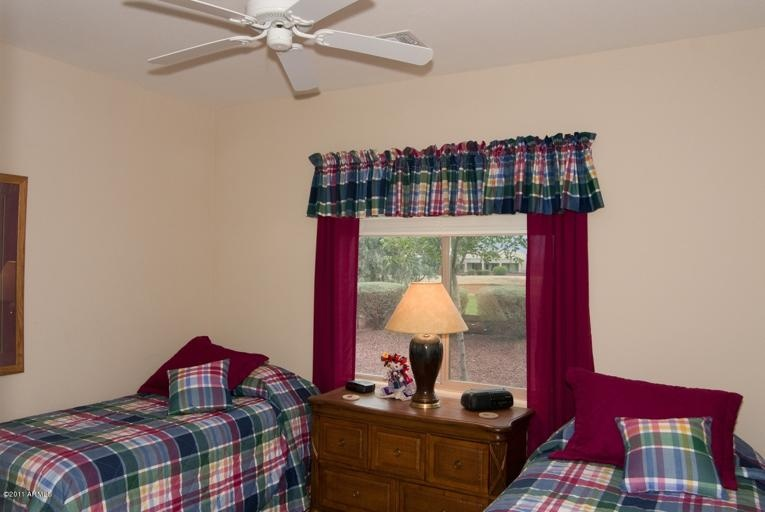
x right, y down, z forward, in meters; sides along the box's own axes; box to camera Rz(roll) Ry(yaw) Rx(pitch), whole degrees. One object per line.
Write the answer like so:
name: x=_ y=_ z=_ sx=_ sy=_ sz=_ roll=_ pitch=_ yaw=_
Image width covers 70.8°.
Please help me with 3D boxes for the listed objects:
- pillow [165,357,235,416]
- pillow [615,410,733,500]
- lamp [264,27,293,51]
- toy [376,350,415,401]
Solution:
pillow: x=-1.371 y=0.973 z=4.052 sx=0.542 sy=0.528 sz=0.139 roll=8 pitch=-45 yaw=-5
pillow: x=1.622 y=1.115 z=3.033 sx=0.459 sy=0.403 sz=0.133 roll=-3 pitch=-39 yaw=19
lamp: x=-0.550 y=-1.173 z=2.913 sx=0.121 sy=0.087 sz=0.142 roll=0 pitch=1 yaw=5
toy: x=0.131 y=0.917 z=4.184 sx=0.315 sy=0.313 sz=0.334 roll=-1 pitch=0 yaw=19
